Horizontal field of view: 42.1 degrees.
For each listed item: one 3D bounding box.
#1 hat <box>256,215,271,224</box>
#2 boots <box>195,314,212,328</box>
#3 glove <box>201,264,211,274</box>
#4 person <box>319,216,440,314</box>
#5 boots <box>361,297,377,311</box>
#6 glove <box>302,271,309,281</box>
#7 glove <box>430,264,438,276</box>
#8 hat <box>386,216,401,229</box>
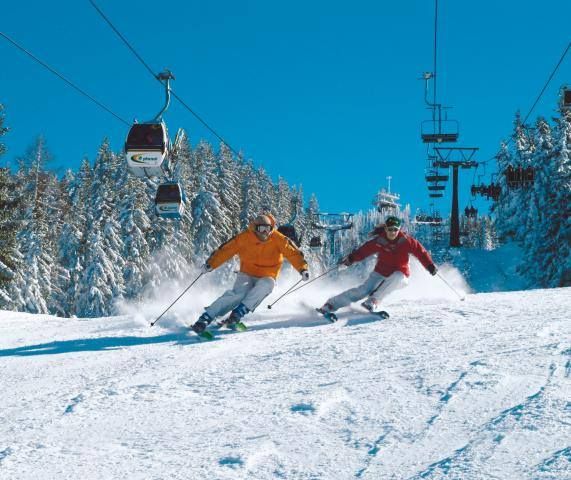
[{"bbox_3d":[-0.335,-0.310,11.345,0.247,0.145,0.334,-2,6,-1],"label":"hat"},{"bbox_3d":[-1.150,1.134,10.258,0.208,0.185,0.469,-1,6,4],"label":"boots"},{"bbox_3d":[-1.166,0.414,10.928,0.129,0.164,0.281,-3,6,-6],"label":"glove"},{"bbox_3d":[1.483,0.640,12.417,1.346,1.977,0.703,35,9,13],"label":"person"},{"bbox_3d":[1.369,1.039,11.973,0.187,0.186,0.203,34,49,16],"label":"boots"},{"bbox_3d":[0.298,0.537,11.109,0.119,0.129,0.282,-2,6,1],"label":"glove"},{"bbox_3d":[2.517,0.494,12.539,0.123,0.185,0.065,-6,-16,25],"label":"glove"},{"bbox_3d":[1.836,-0.307,12.539,0.179,0.229,0.217,7,-4,-1],"label":"hat"}]
